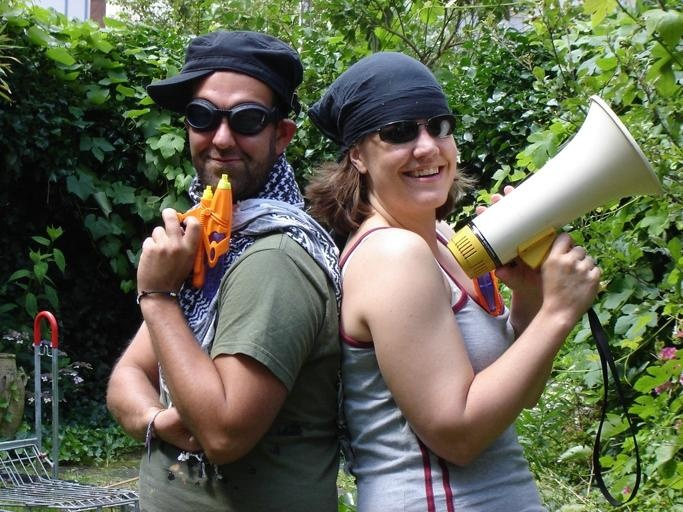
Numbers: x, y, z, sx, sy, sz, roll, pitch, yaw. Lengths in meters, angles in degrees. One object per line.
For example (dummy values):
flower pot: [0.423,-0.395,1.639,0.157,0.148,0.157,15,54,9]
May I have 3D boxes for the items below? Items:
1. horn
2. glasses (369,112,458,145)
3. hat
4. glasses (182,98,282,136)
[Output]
horn: [0.651,-0.146,2.015,0.620,0.430,0.337,-37,5,26]
glasses: [0.248,-0.391,2.126,0.206,0.106,0.238,4,2,35]
hat: [-0.402,-0.641,2.196,0.513,0.244,0.359,-1,0,-15]
glasses: [-0.343,-0.424,2.067,0.245,0.120,0.214,11,12,43]
